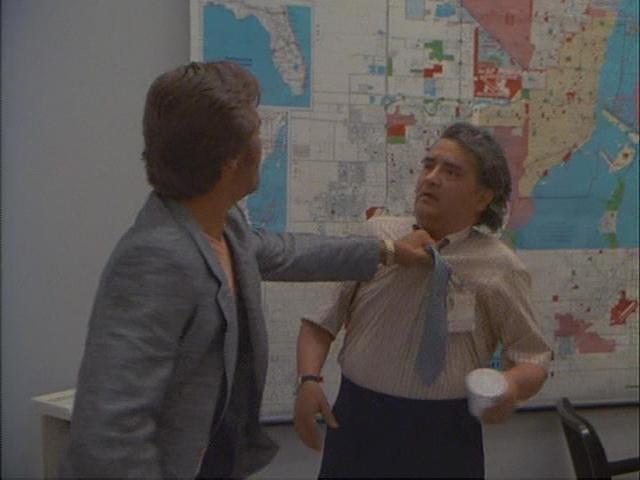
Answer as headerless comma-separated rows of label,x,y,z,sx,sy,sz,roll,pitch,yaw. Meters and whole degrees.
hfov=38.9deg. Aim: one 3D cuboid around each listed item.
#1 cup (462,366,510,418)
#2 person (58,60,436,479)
cup,0.563,0.512,3.092,0.153,0.149,0.145,-4,20,1
person,-0.325,0.141,2.972,0.997,1.450,0.369,-1,9,-17
